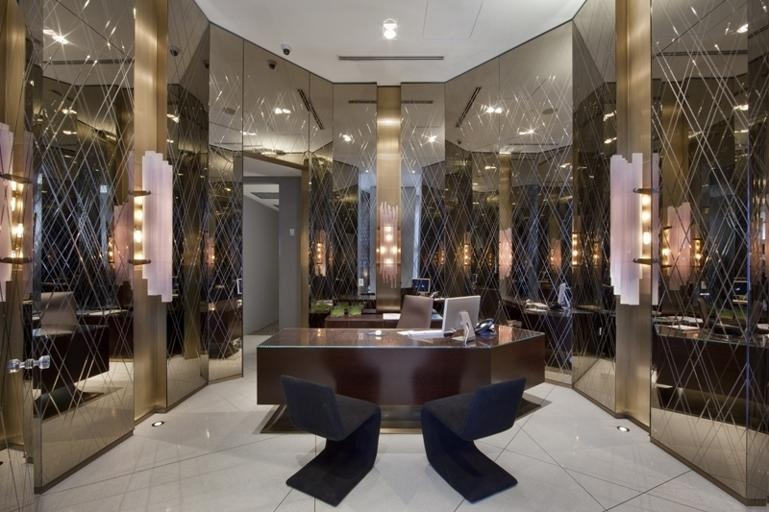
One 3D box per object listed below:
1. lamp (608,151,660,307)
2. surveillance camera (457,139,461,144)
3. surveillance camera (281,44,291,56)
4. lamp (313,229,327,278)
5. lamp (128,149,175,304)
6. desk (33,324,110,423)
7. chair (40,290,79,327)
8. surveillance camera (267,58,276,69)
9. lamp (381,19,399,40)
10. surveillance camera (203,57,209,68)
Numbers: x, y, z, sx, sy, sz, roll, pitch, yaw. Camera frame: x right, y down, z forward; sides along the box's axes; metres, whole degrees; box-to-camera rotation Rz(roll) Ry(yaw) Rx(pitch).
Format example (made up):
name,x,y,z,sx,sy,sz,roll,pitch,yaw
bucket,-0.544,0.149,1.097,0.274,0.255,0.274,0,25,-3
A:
name,x,y,z,sx,sy,sz,roll,pitch,yaw
lamp,2.728,-0.299,5.995,0.492,1.596,0.208,-2,-2,11
surveillance camera,1.123,-1.728,8.273,0.074,0.083,0.019,1,-2,26
surveillance camera,-1.404,-2.948,7.904,0.120,0.055,0.258,-2,-3,-9
lamp,-0.984,-0.061,8.517,0.190,0.705,0.065,-2,-2,-9
lamp,-2.529,-0.322,6.045,0.371,1.609,0.283,-1,-2,-21
desk,-3.110,1.086,5.516,0.553,0.871,1.134,0,-2,11
chair,-3.172,0.518,5.378,0.226,0.381,0.303,3,-5,-31
surveillance camera,-1.624,-2.774,7.971,0.106,0.094,0.108,0,-10,-15
lamp,0.070,-3.075,7.461,0.159,0.264,0.131,-1,10,-4
surveillance camera,-2.304,-2.497,7.122,0.095,0.123,0.080,-2,-3,-15
